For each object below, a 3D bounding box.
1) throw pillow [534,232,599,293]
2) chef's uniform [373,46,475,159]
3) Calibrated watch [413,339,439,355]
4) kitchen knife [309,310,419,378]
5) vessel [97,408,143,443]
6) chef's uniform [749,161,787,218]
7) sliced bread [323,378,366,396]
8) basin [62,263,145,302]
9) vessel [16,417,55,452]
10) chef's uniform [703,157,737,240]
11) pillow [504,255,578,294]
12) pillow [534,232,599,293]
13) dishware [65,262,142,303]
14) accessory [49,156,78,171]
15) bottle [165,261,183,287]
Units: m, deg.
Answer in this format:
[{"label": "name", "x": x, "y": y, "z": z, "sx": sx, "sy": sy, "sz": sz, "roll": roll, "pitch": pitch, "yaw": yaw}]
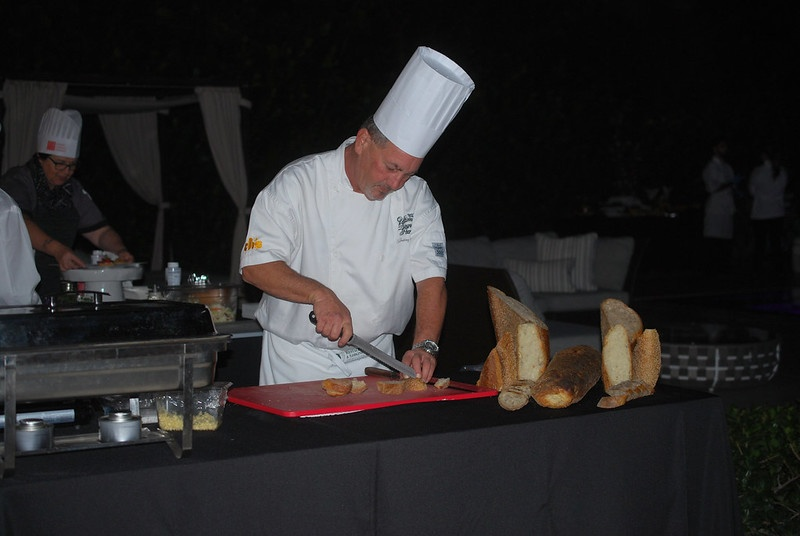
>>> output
[{"label": "throw pillow", "x": 1.520, "y": -0.037, "z": 5.524, "sx": 0.530, "sy": 0.502, "sz": 0.197, "roll": -1, "pitch": -8, "yaw": 30}, {"label": "chef's uniform", "x": 0.067, "y": -0.515, "z": 1.883, "sx": 0.297, "sy": 0.362, "sz": 0.139, "roll": 0, "pitch": 3, "yaw": -21}, {"label": "Calibrated watch", "x": 0.084, "y": 0.243, "z": 1.867, "sx": 0.062, "sy": 0.043, "sz": 0.066, "roll": 7, "pitch": -5, "yaw": -4}, {"label": "kitchen knife", "x": -0.131, "y": 0.244, "z": 1.921, "sx": 0.352, "sy": 0.056, "sz": 0.030, "roll": 37, "pitch": -41, "yaw": -19}, {"label": "vessel", "x": -0.603, "y": 0.335, "z": 1.313, "sx": 0.068, "sy": 0.042, "sz": 0.069, "roll": 4, "pitch": 4, "yaw": 36}, {"label": "chef's uniform", "x": 4.350, "y": -0.916, "z": 7.094, "sx": 0.423, "sy": 0.695, "sz": 0.321, "roll": 2, "pitch": 3, "yaw": 17}, {"label": "sliced bread", "x": -0.153, "y": 0.321, "z": 1.651, "sx": 0.073, "sy": 0.027, "sz": 0.056, "roll": -3, "pitch": 7, "yaw": -21}, {"label": "basin", "x": -1.269, "y": 0.062, "z": 2.588, "sx": 0.320, "sy": 0.153, "sz": 0.405, "roll": 0, "pitch": 2, "yaw": -29}, {"label": "vessel", "x": -0.784, "y": 0.357, "z": 1.273, "sx": 0.075, "sy": 0.068, "sz": 0.077, "roll": -2, "pitch": -2, "yaw": 40}, {"label": "chef's uniform", "x": 3.883, "y": -0.871, "z": 7.278, "sx": 0.412, "sy": 0.889, "sz": 0.286, "roll": -7, "pitch": 10, "yaw": -21}, {"label": "pillow", "x": 1.345, "y": 0.079, "z": 5.510, "sx": 0.631, "sy": 0.385, "sz": 0.160, "roll": -3, "pitch": -8, "yaw": -19}, {"label": "pillow", "x": 1.548, "y": -0.051, "z": 5.689, "sx": 0.752, "sy": 0.707, "sz": 0.277, "roll": 2, "pitch": -22, "yaw": 12}, {"label": "dishware", "x": -1.262, "y": 0.048, "z": 2.619, "sx": 0.322, "sy": 0.149, "sz": 0.327, "roll": 2, "pitch": 3, "yaw": 43}, {"label": "accessory", "x": -1.851, "y": -0.570, "z": 3.265, "sx": 0.101, "sy": 0.032, "sz": 0.100, "roll": 12, "pitch": 6, "yaw": 36}, {"label": "bottle", "x": -1.093, "y": 0.025, "z": 2.893, "sx": 0.056, "sy": 0.099, "sz": 0.149, "roll": 0, "pitch": 2, "yaw": -17}]
